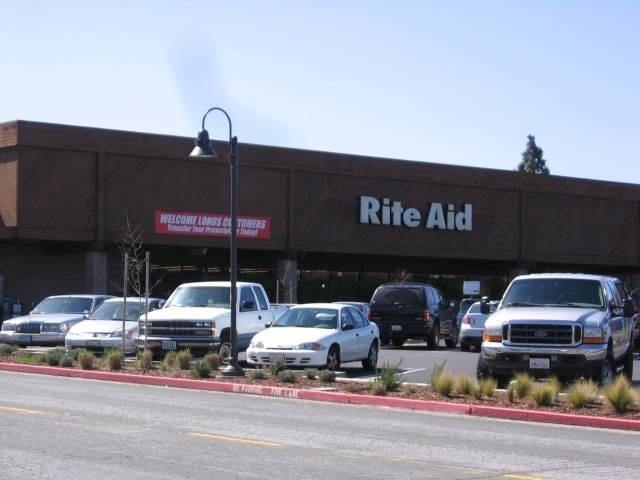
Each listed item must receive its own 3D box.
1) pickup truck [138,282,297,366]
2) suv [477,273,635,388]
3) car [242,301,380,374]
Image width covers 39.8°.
[{"bbox_3d":[-2.954,2.312,25.051,1.815,1.603,3.671,-3,-5,22],"label":"pickup truck"},{"bbox_3d":[5.354,1.863,19.147,3.726,2.516,2.012,5,-9,-25],"label":"suv"},{"bbox_3d":[-0.042,2.507,23.126,1.891,1.766,3.706,-7,-12,45],"label":"car"}]
